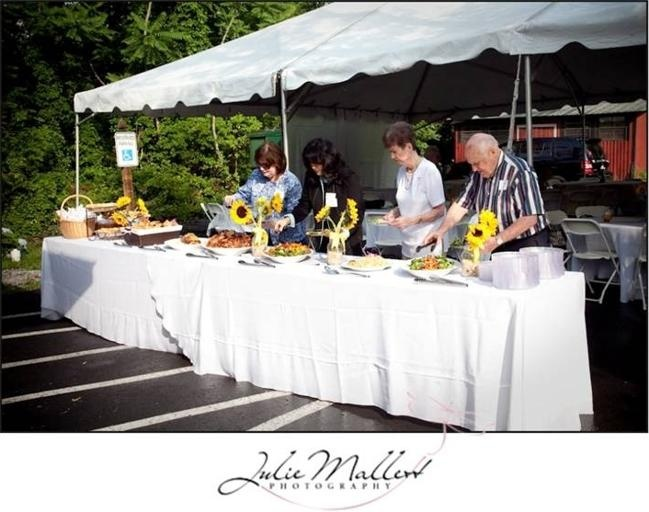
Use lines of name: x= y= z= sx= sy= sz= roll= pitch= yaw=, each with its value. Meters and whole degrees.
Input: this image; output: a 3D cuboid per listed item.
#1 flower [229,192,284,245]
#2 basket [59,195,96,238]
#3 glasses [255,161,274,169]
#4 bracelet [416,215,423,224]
flower: x=-0.527 y=-0.248 z=4.117 sx=0.444 sy=0.506 sz=0.390 roll=2 pitch=5 yaw=20
basket: x=-2.559 y=-0.413 z=5.455 sx=0.379 sy=0.428 sz=0.302 roll=9 pitch=16 yaw=40
glasses: x=-0.531 y=-0.804 z=4.680 sx=0.085 sy=0.031 sz=0.087 roll=2 pitch=1 yaw=38
bracelet: x=0.730 y=-0.275 z=4.076 sx=0.034 sy=0.055 sz=0.055 roll=5 pitch=-28 yaw=1
